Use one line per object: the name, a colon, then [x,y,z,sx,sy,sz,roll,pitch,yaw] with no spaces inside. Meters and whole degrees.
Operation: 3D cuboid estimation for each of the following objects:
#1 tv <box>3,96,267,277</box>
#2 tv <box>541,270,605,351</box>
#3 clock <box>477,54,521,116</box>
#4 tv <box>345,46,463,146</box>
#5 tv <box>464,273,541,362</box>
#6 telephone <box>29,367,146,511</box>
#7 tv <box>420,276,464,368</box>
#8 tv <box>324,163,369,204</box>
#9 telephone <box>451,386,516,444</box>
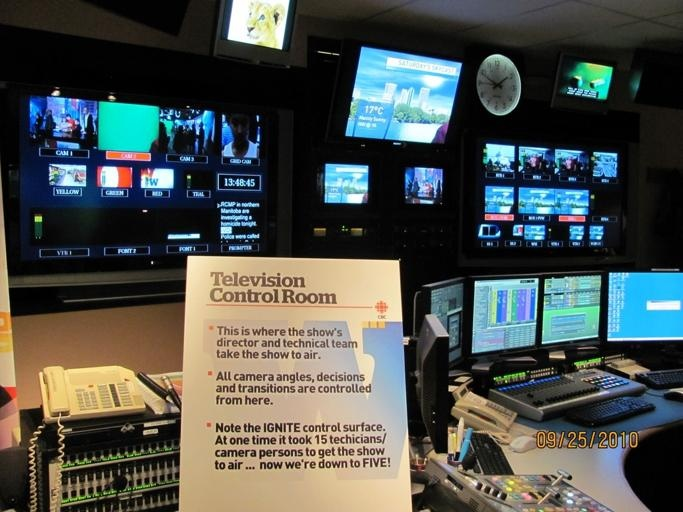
tv: [-1.337,-0.434,3.481,1.116,0.744,0.115,-2,5,-27]
tv: [1.426,0.338,3.526,0.467,0.484,0.050,0,2,-24]
clock: [1.345,-1.499,4.914,0.474,0.547,0.070,-6,8,-28]
tv: [0.442,-1.220,4.327,0.833,0.628,0.084,2,26,-27]
tv: [0.930,0.363,3.331,0.480,0.502,0.052,-1,2,-23]
telephone: [-1.059,0.696,2.379,0.412,0.573,0.259,0,-35,-25]
tv: [0.489,0.326,2.752,0.057,0.454,0.377,-3,-19,30]
tv: [0.021,-0.563,4.394,0.299,0.271,0.041,-2,4,-24]
telephone: [0.730,0.823,2.950,0.248,0.155,0.191,10,15,20]
